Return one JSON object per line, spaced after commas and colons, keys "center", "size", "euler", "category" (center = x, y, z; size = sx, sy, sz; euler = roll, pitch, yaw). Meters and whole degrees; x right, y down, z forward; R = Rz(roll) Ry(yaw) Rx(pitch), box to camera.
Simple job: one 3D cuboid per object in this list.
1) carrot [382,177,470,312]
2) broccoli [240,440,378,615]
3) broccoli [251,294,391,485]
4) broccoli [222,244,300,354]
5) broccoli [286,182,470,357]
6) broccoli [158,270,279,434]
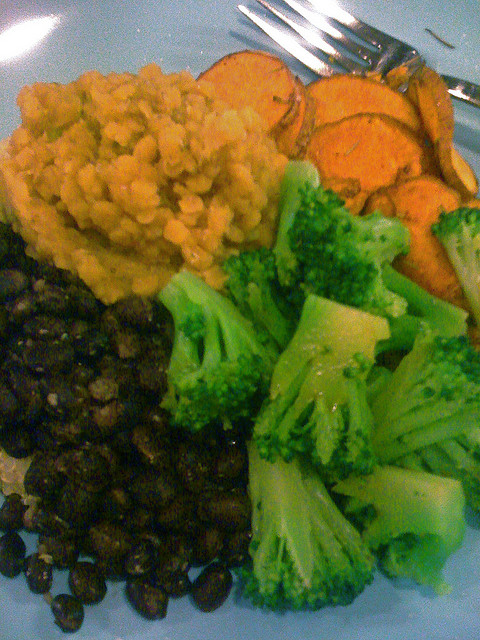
{"center": [0.426, -0.194, 1.627], "size": [0.061, 0.156, 0.337], "euler": [-21, 94, -38], "category": "carrot"}
{"center": [0.128, 0.460, 1.510], "size": [0.175, 0.150, 0.475], "euler": [-8, 82, 0], "category": "broccoli"}
{"center": [0.169, 0.136, 1.459], "size": [0.286, 0.392, 0.090], "euler": [31, 24, 32], "category": "broccoli"}
{"center": [0.006, -0.065, 1.694], "size": [0.094, 0.285, 0.238], "euler": [-13, 93, -13], "category": "broccoli"}
{"center": [0.261, -0.112, 1.456], "size": [0.290, 0.458, 0.108], "euler": [14, 6, 18], "category": "broccoli"}
{"center": [-0.065, 0.057, 1.469], "size": [0.209, 0.133, 0.380], "euler": [-18, 84, -1], "category": "broccoli"}
